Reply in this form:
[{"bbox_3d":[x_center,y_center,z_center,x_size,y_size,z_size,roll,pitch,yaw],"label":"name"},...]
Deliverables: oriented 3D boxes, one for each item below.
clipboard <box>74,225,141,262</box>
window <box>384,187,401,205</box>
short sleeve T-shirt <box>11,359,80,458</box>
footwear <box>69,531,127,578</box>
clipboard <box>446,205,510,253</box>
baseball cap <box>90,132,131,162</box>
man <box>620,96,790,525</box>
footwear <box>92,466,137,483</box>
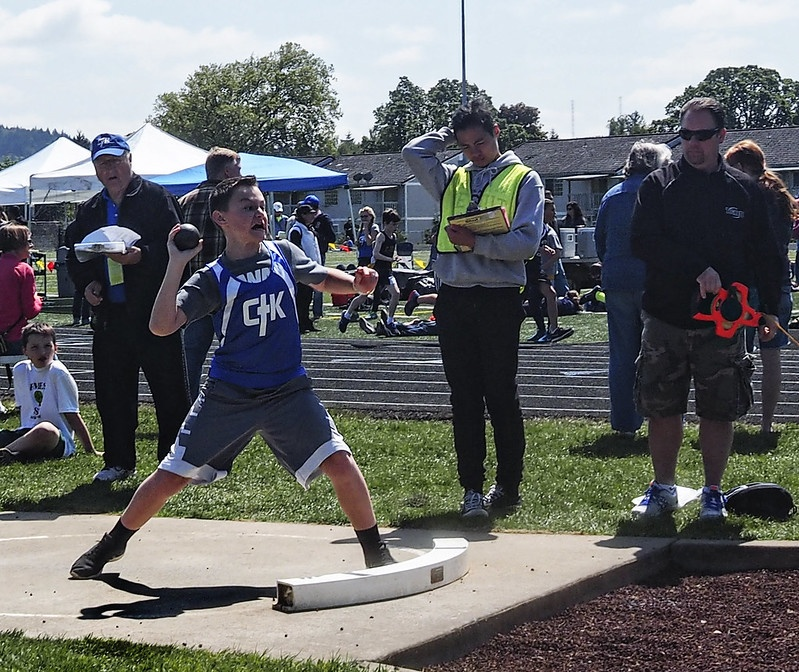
[{"bbox_3d":[-1.683,-0.511,6.188,0.240,0.093,0.233,-3,21,24],"label":"clipboard"},{"bbox_3d":[-0.456,-8.784,70.262,0.272,0.988,1.096,0,13,-42],"label":"window"},{"bbox_3d":[-2.411,0.511,7.436,0.492,0.570,0.284,-13,-18,2],"label":"short sleeve T-shirt"},{"bbox_3d":[-1.308,0.954,4.756,0.204,0.071,0.093,-36,-18,-12],"label":"footwear"},{"bbox_3d":[0.390,-0.529,5.541,0.321,0.221,0.183,0,6,11],"label":"clipboard"},{"bbox_3d":[-1.691,-1.096,6.438,0.221,0.151,0.300,-3,7,-20],"label":"baseball cap"},{"bbox_3d":[1.530,-0.146,5.492,0.729,2.073,0.561,1,7,17],"label":"man"},{"bbox_3d":[-1.714,0.826,6.581,0.176,0.068,0.100,5,-4,-16],"label":"footwear"}]
